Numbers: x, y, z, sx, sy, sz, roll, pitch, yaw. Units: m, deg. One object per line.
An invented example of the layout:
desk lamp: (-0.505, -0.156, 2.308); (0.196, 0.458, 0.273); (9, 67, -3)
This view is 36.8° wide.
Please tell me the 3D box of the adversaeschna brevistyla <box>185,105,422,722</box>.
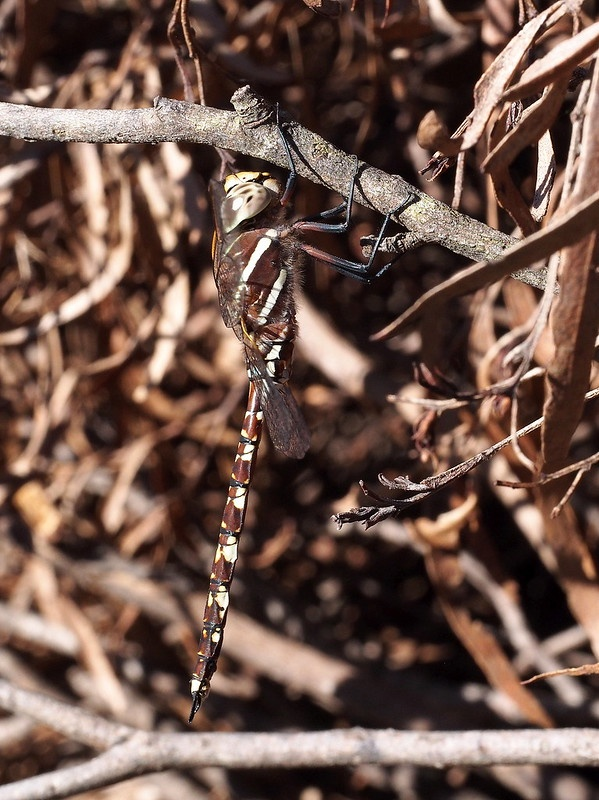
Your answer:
adversaeschna brevistyla: (-0.049, -0.020, 1.605); (0.192, 0.544, 0.901); (-8, 111, -31)
